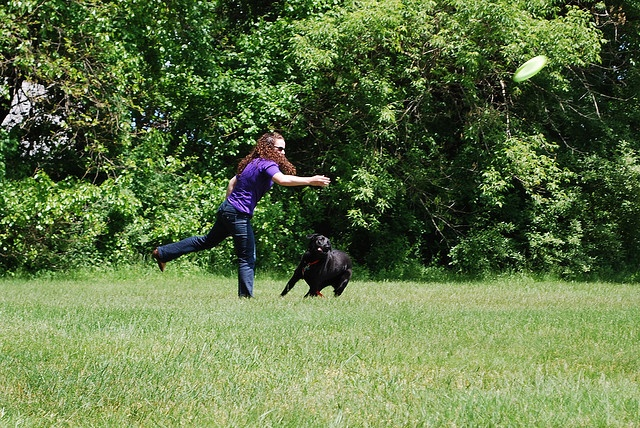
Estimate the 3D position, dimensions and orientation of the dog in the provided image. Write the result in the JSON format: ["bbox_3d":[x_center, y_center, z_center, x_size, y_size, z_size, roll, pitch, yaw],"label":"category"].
[{"bbox_3d":[0.016,1.199,17.757,0.592,1.064,2.336,3,-11,37],"label":"dog"}]
